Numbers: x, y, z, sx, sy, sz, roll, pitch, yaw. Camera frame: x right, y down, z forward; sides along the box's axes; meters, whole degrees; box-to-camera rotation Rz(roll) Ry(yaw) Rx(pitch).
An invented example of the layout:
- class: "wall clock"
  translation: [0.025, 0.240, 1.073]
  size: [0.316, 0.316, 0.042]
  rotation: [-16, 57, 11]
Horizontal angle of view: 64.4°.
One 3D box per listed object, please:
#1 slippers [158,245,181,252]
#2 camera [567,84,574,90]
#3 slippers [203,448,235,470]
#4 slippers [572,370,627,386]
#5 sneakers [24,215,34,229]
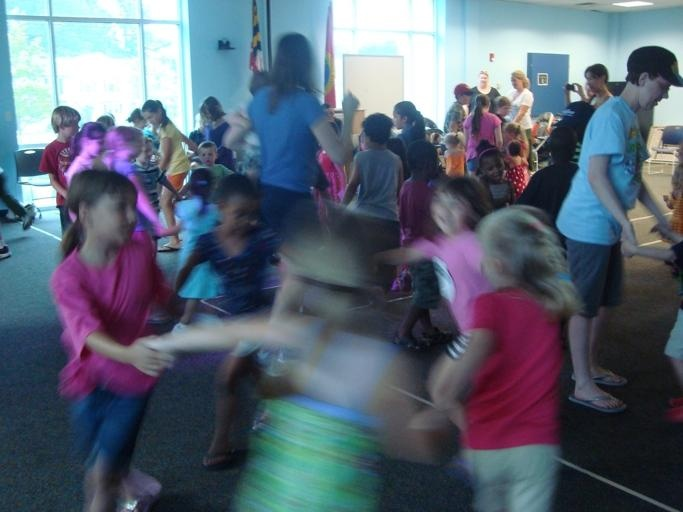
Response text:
- class: "slippers"
  translation: [-2.059, -0.089, 6.474]
  size: [0.242, 0.064, 0.087]
  rotation: [-1, 4, -27]
- class: "camera"
  translation: [3.527, -2.609, 8.370]
  size: [0.119, 0.124, 0.031]
  rotation: [-1, 4, -27]
- class: "slippers"
  translation: [-0.571, 0.942, 2.521]
  size: [0.132, 0.055, 0.074]
  rotation: [1, 15, -18]
- class: "slippers"
  translation: [1.524, 0.734, 3.203]
  size: [0.264, 0.076, 0.128]
  rotation: [-4, 14, 7]
- class: "sneakers"
  translation: [-4.300, -0.476, 7.459]
  size: [0.095, 0.167, 0.049]
  rotation: [26, -8, 16]
